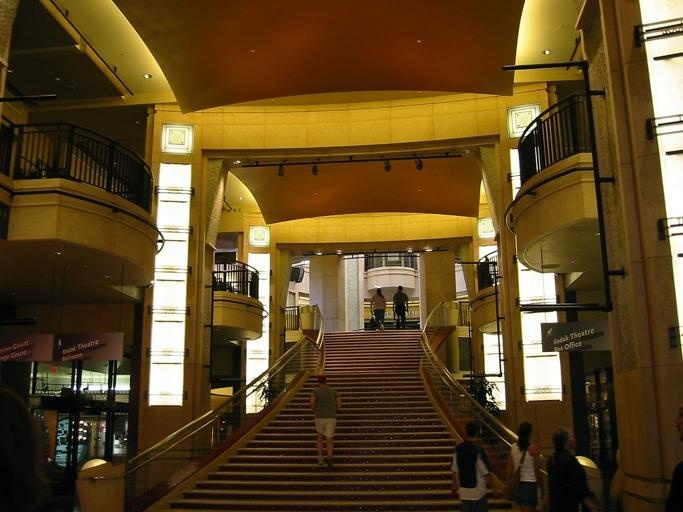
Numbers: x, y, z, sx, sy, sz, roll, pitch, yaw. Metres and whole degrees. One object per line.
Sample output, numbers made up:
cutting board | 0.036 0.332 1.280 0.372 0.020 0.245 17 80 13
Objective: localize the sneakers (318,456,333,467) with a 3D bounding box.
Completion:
sneakers | -0.301 3.509 10.229 0.209 0.172 0.474 0 -13 -12

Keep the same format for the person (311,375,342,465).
person | -0.299 2.931 10.889 0.507 1.517 1.487 -2 -12 -2
